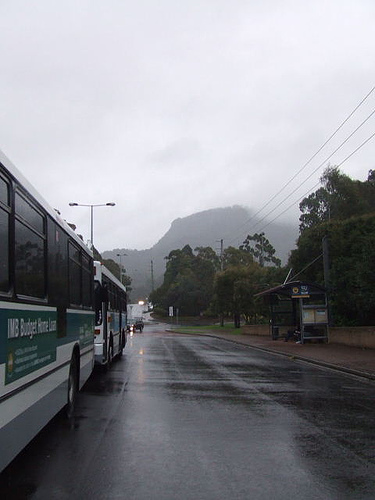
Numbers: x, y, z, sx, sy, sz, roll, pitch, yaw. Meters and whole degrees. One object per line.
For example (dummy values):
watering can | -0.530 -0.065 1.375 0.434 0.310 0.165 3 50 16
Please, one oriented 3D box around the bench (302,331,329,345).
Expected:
bench | 7.944 5.368 25.494 0.922 0.880 1.131 1 -3 -1

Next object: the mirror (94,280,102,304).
mirror | -2.637 1.232 12.133 0.192 0.695 0.101 1 -5 -14

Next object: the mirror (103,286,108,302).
mirror | -2.466 1.312 12.303 0.073 0.474 0.326 -2 -7 12
